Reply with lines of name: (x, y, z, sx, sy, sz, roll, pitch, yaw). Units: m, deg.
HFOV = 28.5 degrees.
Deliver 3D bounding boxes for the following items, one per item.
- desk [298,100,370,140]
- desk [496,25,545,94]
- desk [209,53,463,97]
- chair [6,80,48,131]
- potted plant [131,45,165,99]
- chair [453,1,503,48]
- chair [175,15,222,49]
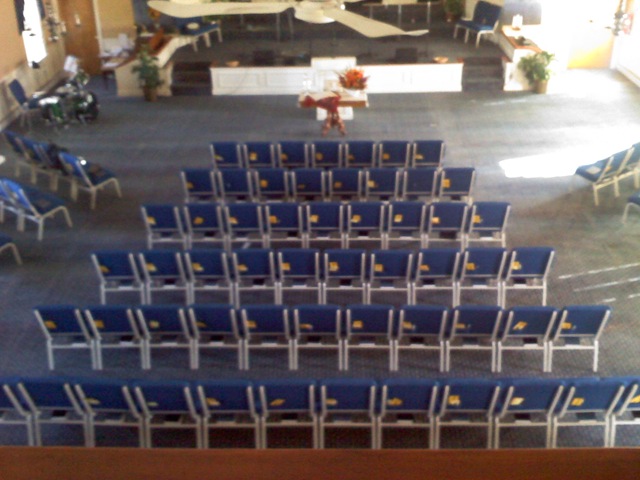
desk: (0.255, -2.304, 23.649, 1.456, 0.521, 0.780, -1, 3, -5)
desk: (4.109, -3.627, 25.575, 0.974, 0.887, 1.410, -2, 30, 3)
desk: (0.408, -3.216, 25.633, 5.851, 0.717, 0.806, 4, 6, 32)
chair: (-5.590, -2.611, 24.251, 0.760, 0.923, 0.407, 23, 42, 31)
potted plant: (-3.474, -3.378, 25.509, 0.563, 1.193, 0.389, -12, 38, -14)
chair: (3.367, -4.605, 26.627, 0.763, 0.959, 1.119, -11, 33, -14)
chair: (-2.519, -4.443, 26.935, 1.020, 1.052, 0.577, -6, 50, -8)
